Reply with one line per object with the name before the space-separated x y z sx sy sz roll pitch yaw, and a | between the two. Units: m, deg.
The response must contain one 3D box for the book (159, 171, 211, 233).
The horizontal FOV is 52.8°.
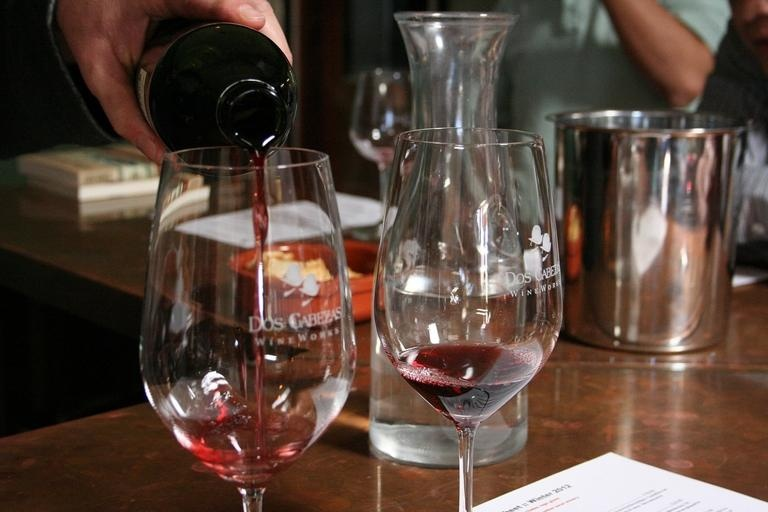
book | -0.144 -0.037 0.554 0.041 0.037 0.040 4 -1 -8
